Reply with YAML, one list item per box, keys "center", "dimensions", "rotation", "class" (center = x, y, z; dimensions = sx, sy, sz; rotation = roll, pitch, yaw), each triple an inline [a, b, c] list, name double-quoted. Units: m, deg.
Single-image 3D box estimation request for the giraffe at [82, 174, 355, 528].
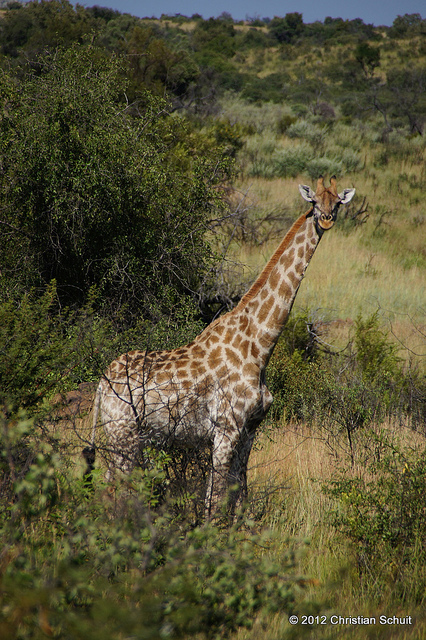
- center: [0.052, 0.145, 5.066]
  dimensions: [1.850, 2.059, 1.149]
  rotation: [-10, 16, -31]
  class: "giraffe"
